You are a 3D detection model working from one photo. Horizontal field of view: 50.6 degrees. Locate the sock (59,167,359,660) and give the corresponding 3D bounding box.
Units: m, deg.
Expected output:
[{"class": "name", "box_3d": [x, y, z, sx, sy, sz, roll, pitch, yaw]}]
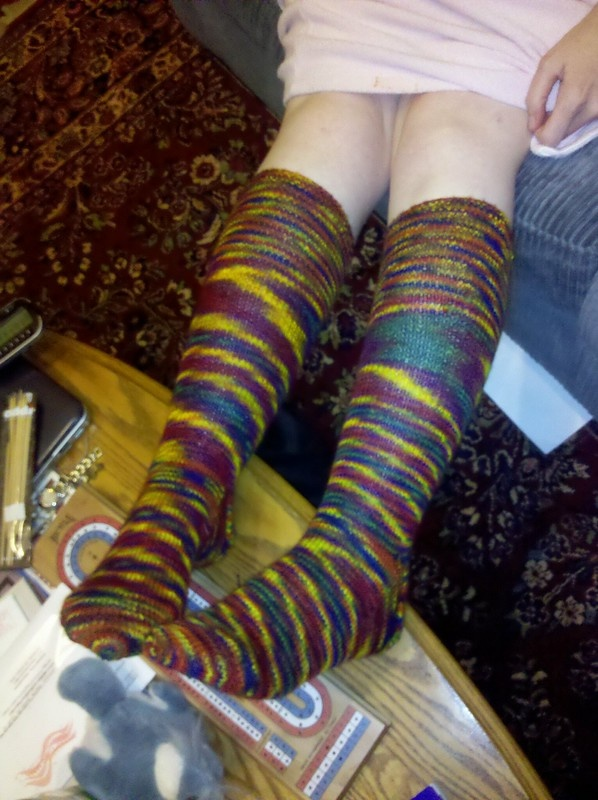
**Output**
[{"class": "sock", "box_3d": [-0.039, -0.057, 0.695, 0.172, 0.167, 0.596, 16, 81, 13]}]
